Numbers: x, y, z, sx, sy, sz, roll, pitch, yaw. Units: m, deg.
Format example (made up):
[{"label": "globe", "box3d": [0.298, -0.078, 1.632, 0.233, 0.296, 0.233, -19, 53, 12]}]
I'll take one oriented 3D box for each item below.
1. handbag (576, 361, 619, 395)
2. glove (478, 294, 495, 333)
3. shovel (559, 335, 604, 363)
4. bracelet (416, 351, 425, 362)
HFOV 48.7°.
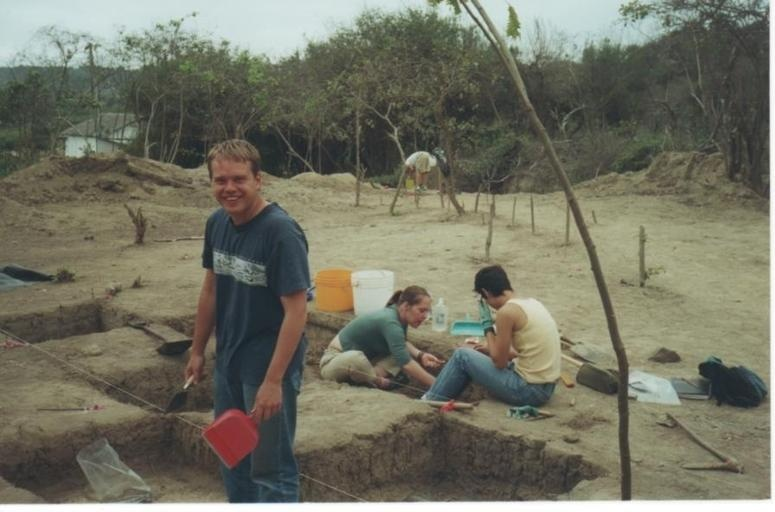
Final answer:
[{"label": "handbag", "box3d": [3.000, 1.775, 12.199, 0.216, 0.332, 0.511, -5, 9, -44]}, {"label": "glove", "box3d": [1.390, 0.826, 12.028, 0.132, 0.454, 0.319, -18, 0, 8]}, {"label": "shovel", "box3d": [2.904, 1.375, 12.907, 0.241, 0.183, 0.733, -2, 16, -18]}, {"label": "bracelet", "box3d": [0.484, 1.524, 12.754, 0.102, 0.121, 0.132, 17, -3, -17]}]
